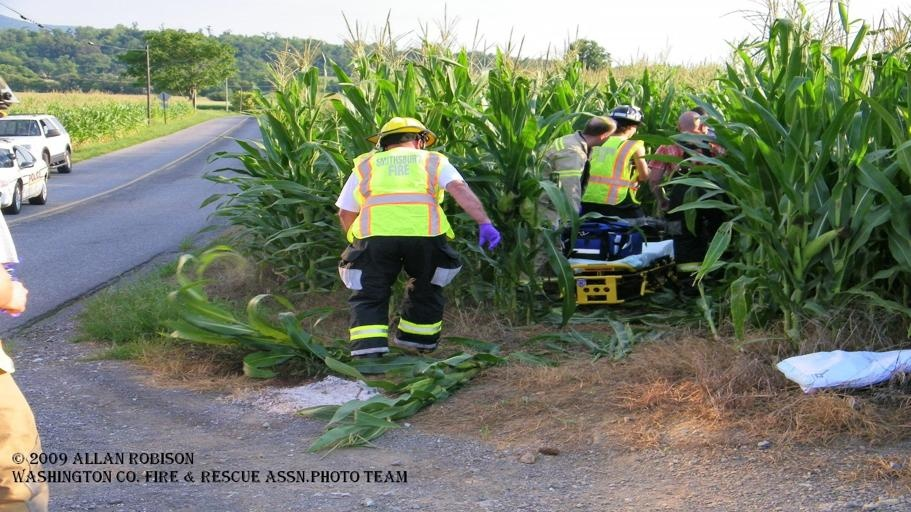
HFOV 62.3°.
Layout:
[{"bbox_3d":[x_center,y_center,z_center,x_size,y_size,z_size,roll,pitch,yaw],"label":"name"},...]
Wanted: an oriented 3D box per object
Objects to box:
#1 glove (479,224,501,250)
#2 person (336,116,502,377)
[{"bbox_3d":[0.394,-0.208,8.031,0.227,0.274,0.116,-7,15,31],"label":"glove"},{"bbox_3d":[-0.548,-0.046,8.135,1.339,2.190,0.887,-2,15,-19],"label":"person"}]
